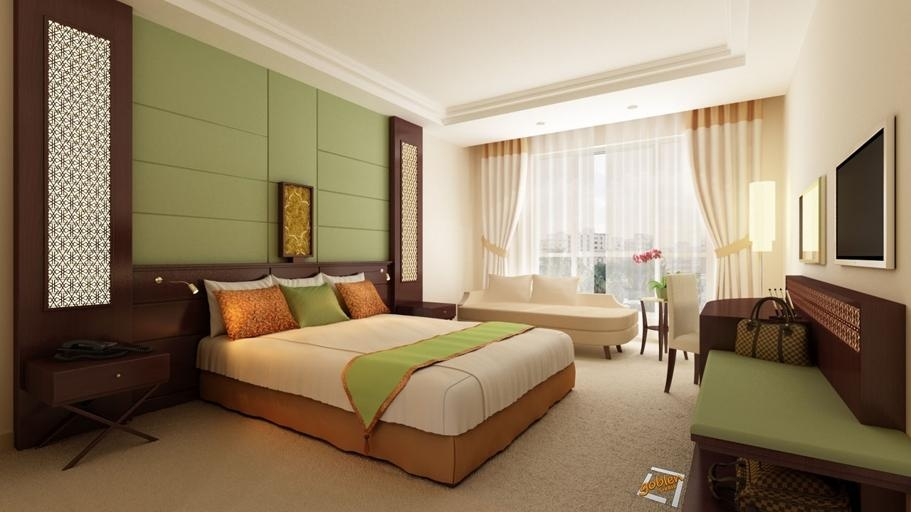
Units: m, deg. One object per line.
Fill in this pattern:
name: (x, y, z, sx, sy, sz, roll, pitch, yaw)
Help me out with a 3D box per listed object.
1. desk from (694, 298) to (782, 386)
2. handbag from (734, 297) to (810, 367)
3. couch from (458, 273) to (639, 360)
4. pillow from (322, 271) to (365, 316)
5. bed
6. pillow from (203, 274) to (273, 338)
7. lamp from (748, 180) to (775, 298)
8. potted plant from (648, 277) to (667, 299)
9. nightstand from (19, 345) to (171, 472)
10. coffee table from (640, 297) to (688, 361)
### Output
desk: (2.699, 0.829, 5.076, 0.569, 0.699, 1.062, -1, -1, 29)
handbag: (2.968, 0.698, 5.000, 0.266, 0.601, 0.670, -12, 10, -40)
couch: (1.355, 0.837, 8.033, 2.658, 1.003, 0.961, 1, 5, 35)
pillow: (-1.428, 0.449, 6.862, 0.152, 0.475, 0.515, -27, -16, 26)
bed: (-0.927, 1.308, 5.517, 2.747, 1.073, 2.771, 0, 1, 27)
pillow: (-2.415, 0.525, 5.857, 0.196, 0.606, 0.652, -21, -11, 30)
lamp: (3.847, -0.274, 6.669, 0.255, 1.085, 0.261, 1, 4, -28)
potted plant: (2.772, 0.427, 7.312, 0.307, 0.212, 0.309, -2, -2, 32)
nightstand: (-3.369, 1.219, 5.265, 1.016, 1.087, 1.299, 1, -2, 33)
coffee table: (2.771, 0.968, 7.436, 0.557, 0.669, 0.549, 0, -1, -41)
